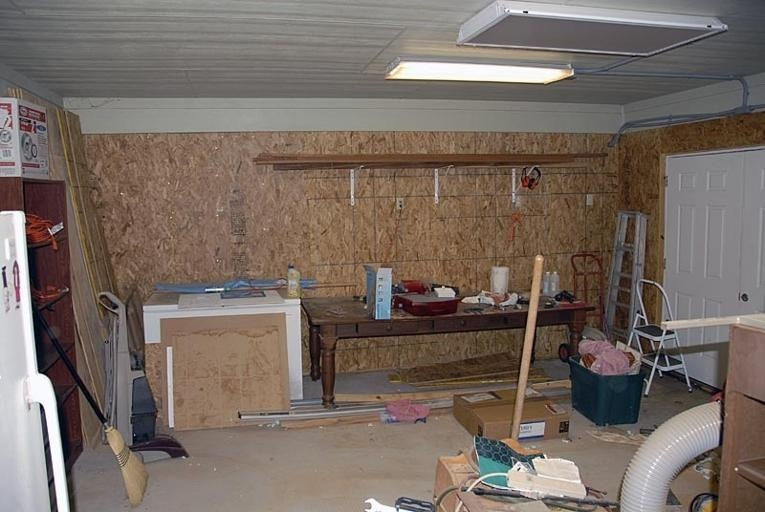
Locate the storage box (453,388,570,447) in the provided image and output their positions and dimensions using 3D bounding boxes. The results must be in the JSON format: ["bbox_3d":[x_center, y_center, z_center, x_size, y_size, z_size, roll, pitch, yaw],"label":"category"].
[{"bbox_3d":[1.292,1.524,5.617,1.061,0.347,0.808,-5,6,-14],"label":"storage box"}]

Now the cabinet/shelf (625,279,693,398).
[{"bbox_3d":[2.939,0.846,6.264,0.572,1.133,0.581,-14,6,-7],"label":"cabinet/shelf"}]

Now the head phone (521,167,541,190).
[{"bbox_3d":[1.789,-0.961,6.980,0.128,0.131,0.227,-36,11,23],"label":"head phone"}]

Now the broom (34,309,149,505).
[{"bbox_3d":[-2.353,1.241,4.641,0.344,1.669,0.188,-15,21,29],"label":"broom"}]

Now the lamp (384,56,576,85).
[{"bbox_3d":[0.839,-1.622,5.080,1.604,0.135,0.566,-4,5,-10],"label":"lamp"}]

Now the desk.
[{"bbox_3d":[0.792,1.236,6.572,1.187,1.088,3.675,11,-15,-40],"label":"desk"}]
